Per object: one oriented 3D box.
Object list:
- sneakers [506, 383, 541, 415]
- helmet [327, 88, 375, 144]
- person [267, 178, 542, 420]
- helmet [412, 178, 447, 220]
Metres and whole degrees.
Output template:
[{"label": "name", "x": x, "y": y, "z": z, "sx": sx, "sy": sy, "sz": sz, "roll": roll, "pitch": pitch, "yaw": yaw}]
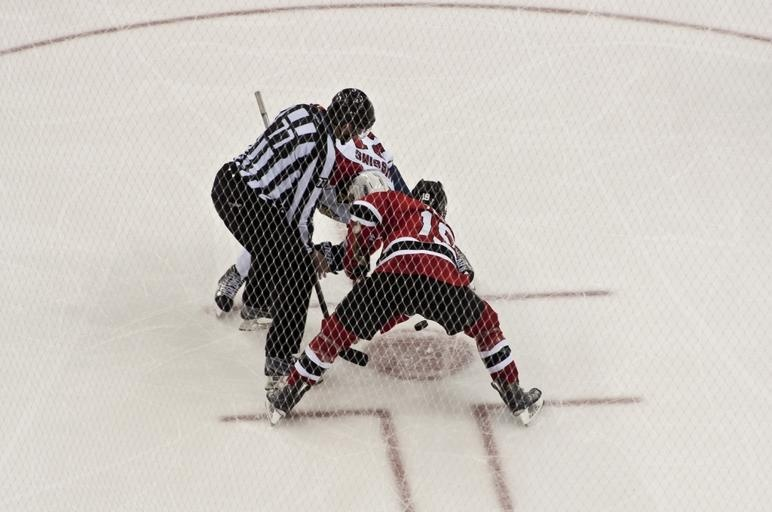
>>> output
[{"label": "sneakers", "x": 0.922, "y": 0.978, "z": 6.442, "sx": 0.220, "sy": 0.229, "sz": 0.114, "roll": -24, "pitch": 16, "yaw": -15}, {"label": "helmet", "x": -0.246, "y": -0.958, "z": 6.602, "sx": 0.261, "sy": 0.342, "sz": 0.327, "roll": -17, "pitch": -52, "yaw": -8}, {"label": "person", "x": 0.146, "y": 0.376, "z": 6.424, "sx": 1.737, "sy": 1.495, "sz": 0.644, "roll": 6, "pitch": -16, "yaw": -8}, {"label": "helmet", "x": 0.320, "y": -0.383, "z": 6.495, "sx": 0.189, "sy": 0.282, "sz": 0.268, "roll": 3, "pitch": 7, "yaw": 12}]
